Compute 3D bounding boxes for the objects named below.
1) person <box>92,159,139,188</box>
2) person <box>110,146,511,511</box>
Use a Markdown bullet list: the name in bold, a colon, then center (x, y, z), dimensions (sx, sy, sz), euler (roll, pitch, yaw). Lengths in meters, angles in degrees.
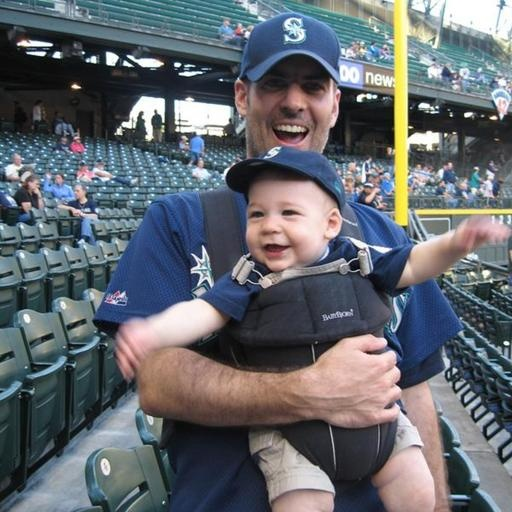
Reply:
- **person**: center (-3.661, -2.170, 13.294), dimensions (1.270, 0.725, 0.565), euler (0, 31, -14)
- **person**: center (0.096, 0.209, 1.243), dimensions (0.846, 0.939, 0.434), euler (-2, 10, -12)
